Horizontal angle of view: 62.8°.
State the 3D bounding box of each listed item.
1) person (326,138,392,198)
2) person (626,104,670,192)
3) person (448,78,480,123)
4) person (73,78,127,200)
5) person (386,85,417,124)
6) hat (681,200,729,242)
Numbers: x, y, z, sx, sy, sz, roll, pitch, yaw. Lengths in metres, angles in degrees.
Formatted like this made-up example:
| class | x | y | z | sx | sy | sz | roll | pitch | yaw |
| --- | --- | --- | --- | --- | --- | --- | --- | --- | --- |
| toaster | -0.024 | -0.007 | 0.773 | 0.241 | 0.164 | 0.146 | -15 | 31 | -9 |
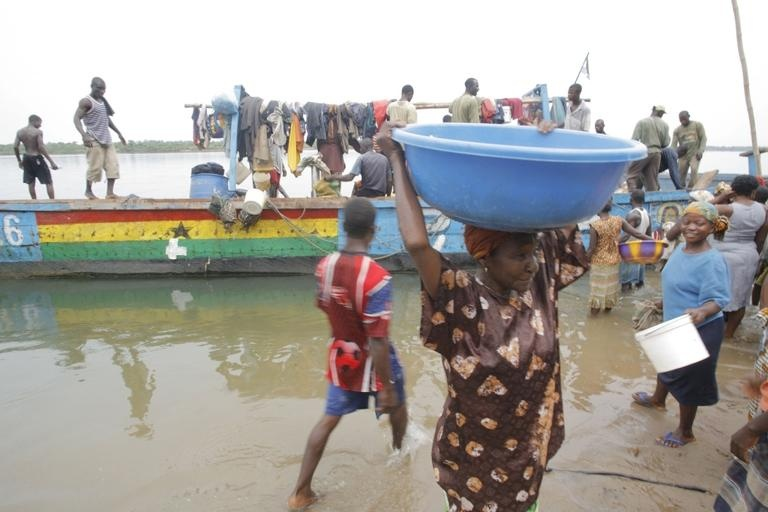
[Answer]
| class | x | y | z | sx | sy | sz | roll | pitch | yaw |
| --- | --- | --- | --- | --- | --- | --- | --- | --- | --- |
| person | -0.468 | -1.494 | 12.826 | 0.980 | 1.752 | 0.986 | -10 | 26 | -40 |
| person | 5.735 | -2.181 | 13.704 | 0.756 | 2.224 | 0.748 | 7 | 9 | 5 |
| person | 1.724 | -3.270 | 13.185 | 0.595 | 0.852 | 0.700 | -1 | 13 | 5 |
| person | -5.609 | -2.297 | 12.394 | 0.764 | 2.314 | 0.676 | -9 | 16 | -29 |
| person | 0.349 | -3.070 | 12.702 | 0.626 | 0.725 | 1.776 | -1 | 13 | 2 |
| hat | 3.746 | -0.419 | 7.324 | 0.438 | 0.344 | 0.355 | 6 | -9 | 34 |
